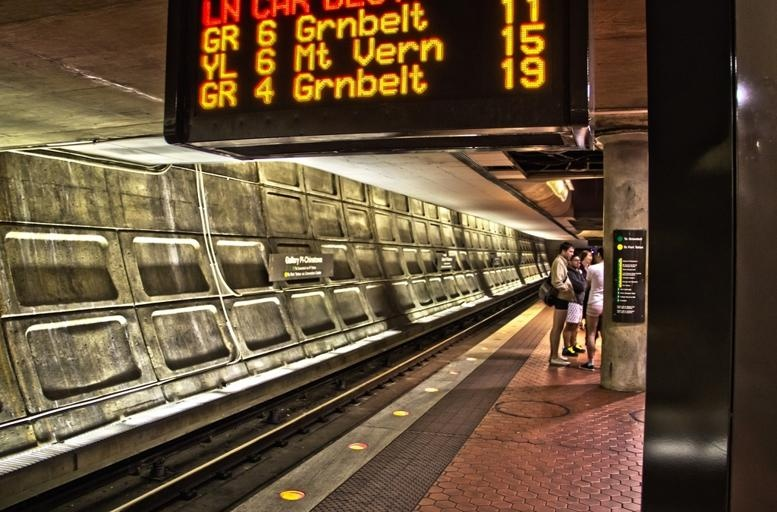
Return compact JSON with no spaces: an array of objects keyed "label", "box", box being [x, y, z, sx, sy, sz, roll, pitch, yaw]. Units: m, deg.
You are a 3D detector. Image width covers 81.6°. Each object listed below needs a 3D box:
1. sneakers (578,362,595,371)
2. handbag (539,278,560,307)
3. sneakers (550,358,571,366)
[{"label":"sneakers","box":[4.058,2.230,9.196,0.287,0.128,0.248,-2,0,26]},{"label":"handbag","box":[3.403,0.764,9.569,0.349,0.498,0.614,-4,0,13]},{"label":"sneakers","box":[3.663,2.255,9.625,0.496,0.147,0.140,0,-1,6]}]
